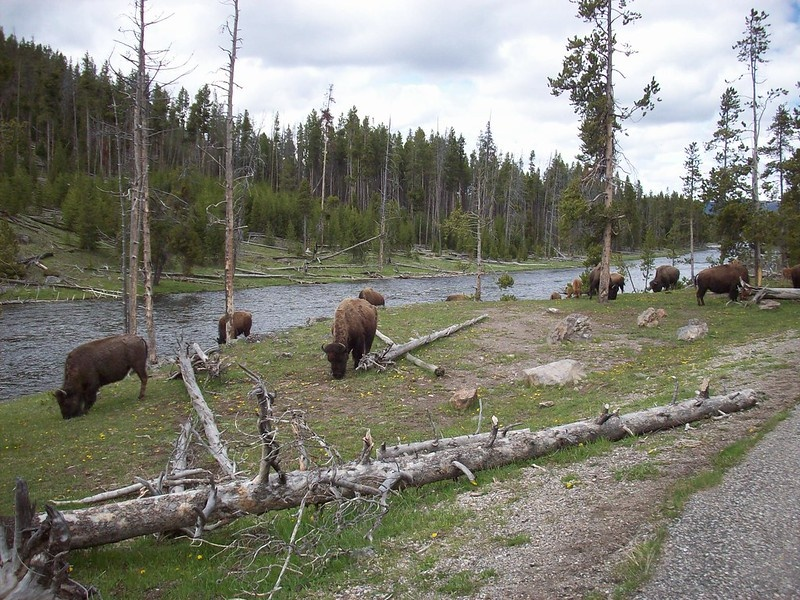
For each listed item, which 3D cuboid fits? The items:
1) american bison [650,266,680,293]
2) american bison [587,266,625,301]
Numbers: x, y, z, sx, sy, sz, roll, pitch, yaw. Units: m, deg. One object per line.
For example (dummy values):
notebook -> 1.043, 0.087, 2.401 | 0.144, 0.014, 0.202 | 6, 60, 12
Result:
american bison -> 18.353, -1.557, 51.800 | 1.574, 1.733, 3.295 | 0, 3, 25
american bison -> 13.130, -1.213, 47.639 | 2.106, 2.052, 4.502 | -1, 3, 15
